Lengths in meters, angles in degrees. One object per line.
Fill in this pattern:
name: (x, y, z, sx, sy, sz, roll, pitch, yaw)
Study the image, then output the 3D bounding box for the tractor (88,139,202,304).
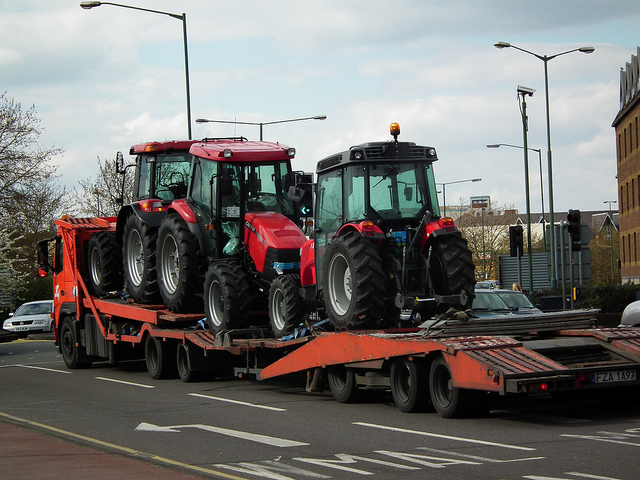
tractor: (-4.183, -0.415, 18.876, 3.352, 4.012, 4.870, -2, 3, -27)

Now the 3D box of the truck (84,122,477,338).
truck: (-1.533, -0.166, 15.467, 3.136, 3.621, 9.439, -8, 9, -43)

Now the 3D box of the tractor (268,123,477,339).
tractor: (0.758, 0.087, 13.164, 2.244, 3.211, 4.860, -1, -3, -23)

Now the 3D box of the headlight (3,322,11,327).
headlight: (-15.894, 4.280, 36.153, 0.554, 0.224, 0.249, -4, -2, 33)
